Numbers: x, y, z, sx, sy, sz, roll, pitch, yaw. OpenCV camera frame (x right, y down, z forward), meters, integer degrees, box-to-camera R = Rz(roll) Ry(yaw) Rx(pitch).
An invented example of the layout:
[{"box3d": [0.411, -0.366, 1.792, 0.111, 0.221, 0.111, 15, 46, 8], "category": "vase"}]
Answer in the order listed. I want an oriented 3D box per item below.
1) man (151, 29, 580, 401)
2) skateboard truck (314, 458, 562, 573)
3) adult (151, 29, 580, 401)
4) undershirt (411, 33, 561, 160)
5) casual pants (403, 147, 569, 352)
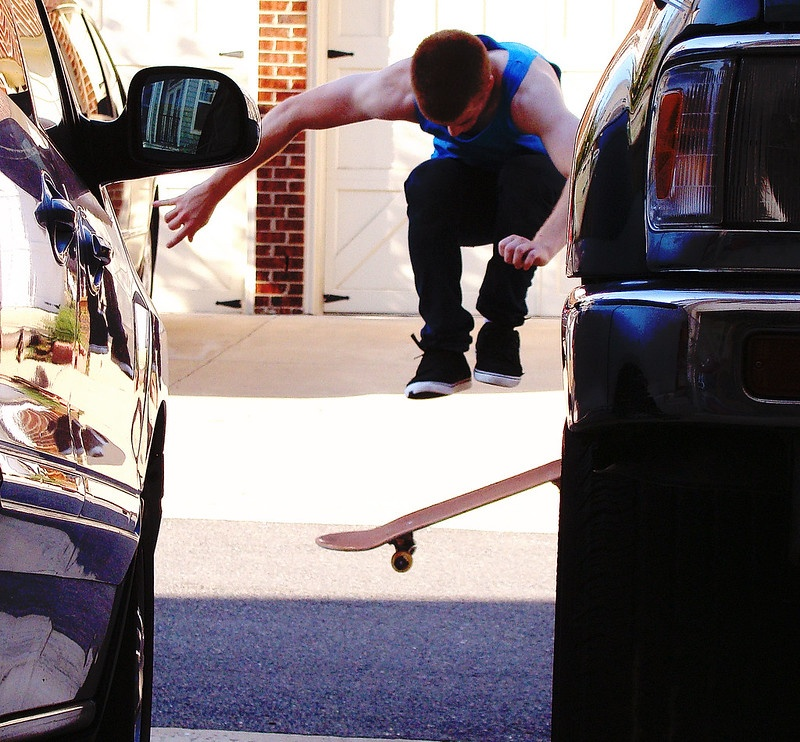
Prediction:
[{"box3d": [-0.081, -0.456, 3.380, 1.454, 1.408, 1.170, -3, 8, 3], "category": "man"}, {"box3d": [0.112, 0.432, 2.824, 0.557, 0.094, 0.130, -30, 16, 13], "category": "skateboard truck"}, {"box3d": [-0.060, -0.547, 3.367, 1.280, 1.233, 1.029, 3, 6, 4], "category": "adult"}, {"box3d": [0.281, -0.890, 3.385, 0.346, 0.494, 0.395, 7, -12, 15], "category": "undershirt"}, {"box3d": [0.326, -0.552, 3.383, 0.443, 1.055, 0.477, 6, 2, 33], "category": "casual pants"}]
